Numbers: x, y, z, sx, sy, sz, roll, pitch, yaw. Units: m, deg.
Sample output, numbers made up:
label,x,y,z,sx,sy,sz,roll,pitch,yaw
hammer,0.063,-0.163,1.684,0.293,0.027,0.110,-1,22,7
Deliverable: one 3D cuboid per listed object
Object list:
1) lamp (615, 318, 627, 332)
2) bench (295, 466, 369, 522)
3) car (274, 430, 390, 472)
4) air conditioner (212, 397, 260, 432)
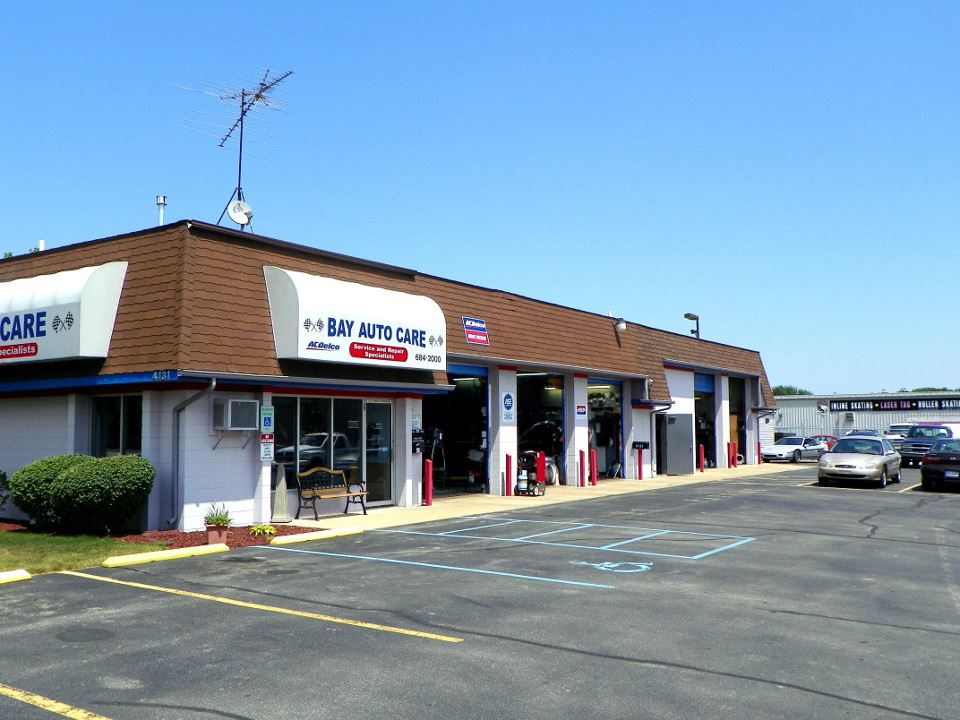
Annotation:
label,x,y,z,sx,sy,sz,roll,pitch,yaw
lamp,5.254,-1.265,32.082,0.416,0.464,0.914,0,-2,7
bench,-3.583,3.219,20.345,0.697,1.198,1.983,-6,-7,24
car,-3.723,2.246,20.688,0.840,0.823,2.217,-6,-10,37
air conditioner,-5.111,1.379,17.905,0.590,0.968,1.128,-7,-9,35
